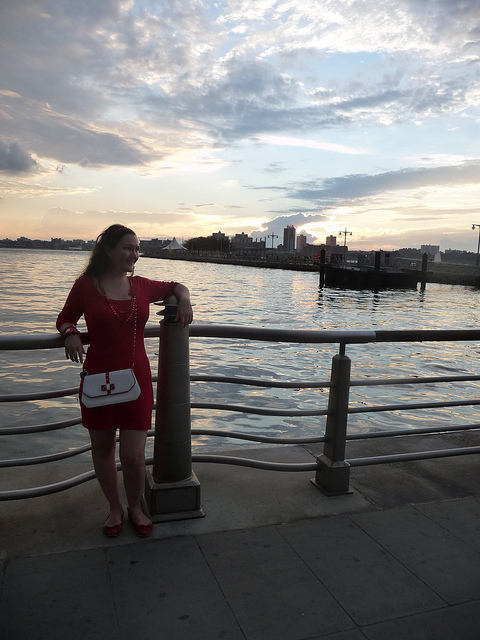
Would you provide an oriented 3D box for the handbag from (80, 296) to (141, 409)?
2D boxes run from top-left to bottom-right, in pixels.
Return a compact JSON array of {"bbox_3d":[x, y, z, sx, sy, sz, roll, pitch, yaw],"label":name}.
[{"bbox_3d":[-0.595,0.152,2.194,0.278,0.529,0.186,2,3,-18],"label":"handbag"}]
